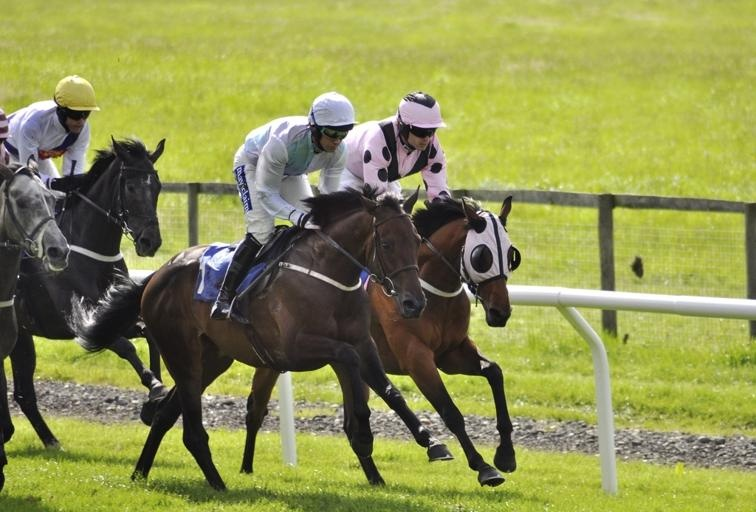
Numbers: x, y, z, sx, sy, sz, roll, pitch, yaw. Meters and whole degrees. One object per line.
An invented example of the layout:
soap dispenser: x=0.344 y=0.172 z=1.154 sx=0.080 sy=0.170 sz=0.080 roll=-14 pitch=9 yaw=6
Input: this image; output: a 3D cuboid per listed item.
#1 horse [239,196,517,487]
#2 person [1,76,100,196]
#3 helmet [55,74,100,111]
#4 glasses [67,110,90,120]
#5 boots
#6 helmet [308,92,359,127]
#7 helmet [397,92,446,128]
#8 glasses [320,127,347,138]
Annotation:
horse: x=0.186 y=0.921 z=16.173 sx=1.016 sy=2.925 sz=4.371 roll=-4 pitch=-1 yaw=-31
person: x=-3.274 y=-1.327 z=16.260 sx=0.565 sy=0.750 sz=1.665 roll=1 pitch=-12 yaw=-39
helmet: x=-3.117 y=-1.700 z=16.202 sx=0.438 sy=0.243 sz=0.315 roll=26 pitch=26 yaw=26
glasses: x=-3.057 y=-1.468 z=16.236 sx=0.125 sy=0.102 sz=0.256 roll=6 pitch=10 yaw=38
boots: x=-1.323 y=0.196 z=14.943 sx=0.294 sy=0.894 sz=0.272 roll=26 pitch=-10 yaw=0
helmet: x=-0.452 y=-1.384 z=14.755 sx=0.297 sy=0.212 sz=0.394 roll=-2 pitch=7 yaw=-40
helmet: x=0.435 y=-1.412 z=15.173 sx=0.417 sy=0.236 sz=0.321 roll=10 pitch=20 yaw=38
glasses: x=-0.388 y=-1.156 z=14.706 sx=0.243 sy=0.117 sz=0.086 roll=-2 pitch=8 yaw=-17
